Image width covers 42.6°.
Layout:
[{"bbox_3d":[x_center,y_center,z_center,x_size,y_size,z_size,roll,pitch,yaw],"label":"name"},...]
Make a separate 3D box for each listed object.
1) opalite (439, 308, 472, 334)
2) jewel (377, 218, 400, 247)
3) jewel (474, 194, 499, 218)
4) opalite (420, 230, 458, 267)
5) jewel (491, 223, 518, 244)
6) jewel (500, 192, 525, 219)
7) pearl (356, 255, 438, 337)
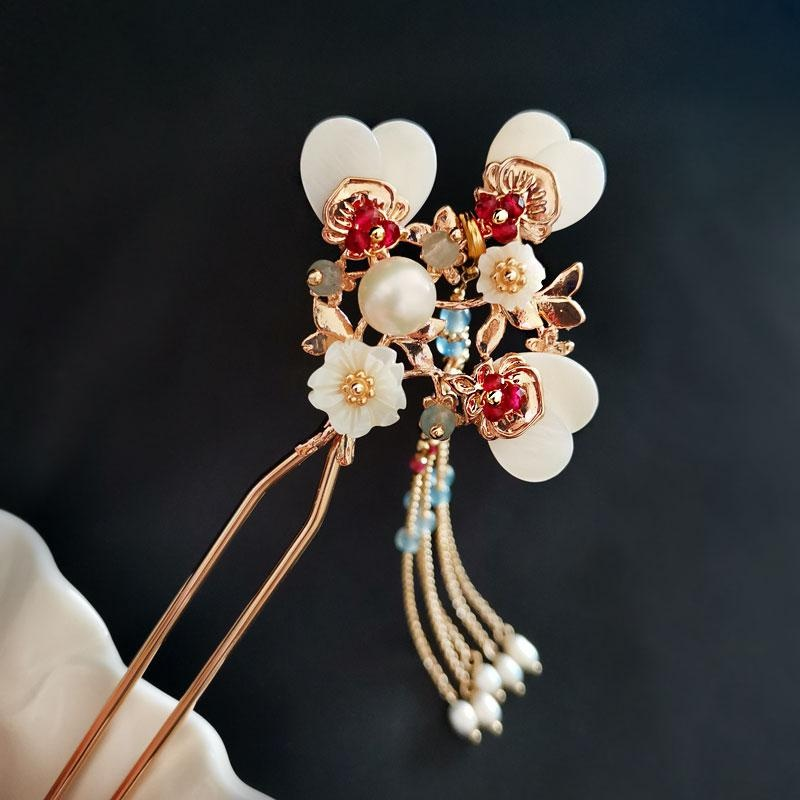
[{"bbox_3d":[0.060,-0.086,1.093,0.024,0.025,0.034,6,-33,10],"label":"opalite"},{"bbox_3d":[-0.008,-0.171,1.047,0.025,0.025,0.006,1,-4,-22],"label":"jewel"},{"bbox_3d":[0.089,-0.202,1.059,0.027,0.026,0.014,3,-27,32],"label":"jewel"},{"bbox_3d":[0.042,-0.153,1.050,0.038,0.031,0.032,14,-23,8],"label":"opalite"},{"bbox_3d":[0.109,-0.176,1.062,0.023,0.016,0.027,4,-26,29],"label":"jewel"},{"bbox_3d":[0.116,-0.201,1.056,0.025,0.025,0.014,-11,-2,-14],"label":"jewel"},{"bbox_3d":[0.003,-0.102,1.013,0.074,0.075,0.041,-4,5,-4],"label":"pearl"}]
